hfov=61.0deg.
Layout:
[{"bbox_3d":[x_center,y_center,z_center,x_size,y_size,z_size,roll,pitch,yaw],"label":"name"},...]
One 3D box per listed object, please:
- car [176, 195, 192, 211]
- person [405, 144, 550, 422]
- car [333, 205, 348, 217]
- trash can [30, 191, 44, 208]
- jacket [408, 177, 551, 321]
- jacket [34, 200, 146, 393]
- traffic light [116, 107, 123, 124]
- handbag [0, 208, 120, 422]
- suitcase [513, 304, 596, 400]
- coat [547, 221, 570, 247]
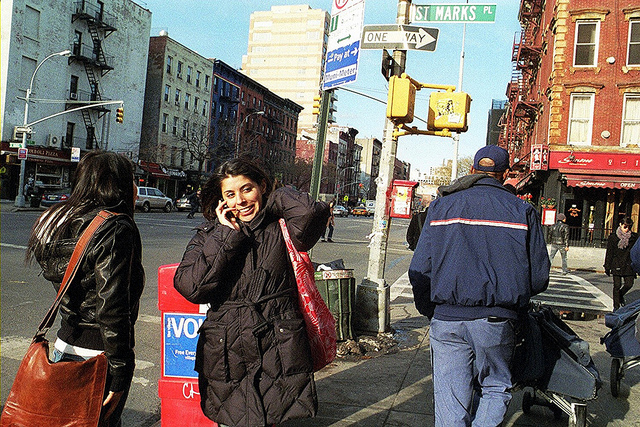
[{"bbox_3d":[-10.115,-0.786,40.740,0.986,0.767,2.289,1,5,-1],"label":"car"},{"bbox_3d":[1.423,0.752,5.012,1.182,2.506,0.424,3,0,20],"label":"person"},{"bbox_3d":[2.528,-0.315,68.396,1.400,1.091,3.191,-1,-7,8],"label":"car"},{"bbox_3d":[-15.794,-0.829,30.170,0.769,0.996,0.900,-5,-6,41],"label":"trash can"},{"bbox_3d":[1.548,0.358,5.212,1.327,1.236,0.804,-3,-4,30],"label":"jacket"},{"bbox_3d":[-1.889,0.643,4.518,0.792,1.462,1.103,-1,8,-44],"label":"jacket"},{"bbox_3d":[-11.281,-5.636,30.705,0.225,0.838,0.708,3,0,-14],"label":"traffic light"},{"bbox_3d":[-1.931,0.750,4.071,0.738,1.423,0.336,3,0,-20],"label":"handbag"},{"bbox_3d":[2.319,1.430,5.429,1.064,0.640,0.813,4,4,22],"label":"suitcase"},{"bbox_3d":[8.077,0.644,18.461,0.543,0.878,1.072,3,0,21],"label":"coat"}]
